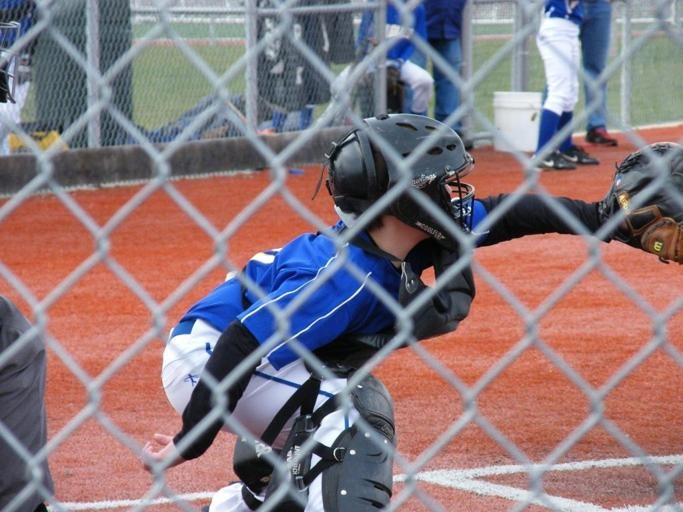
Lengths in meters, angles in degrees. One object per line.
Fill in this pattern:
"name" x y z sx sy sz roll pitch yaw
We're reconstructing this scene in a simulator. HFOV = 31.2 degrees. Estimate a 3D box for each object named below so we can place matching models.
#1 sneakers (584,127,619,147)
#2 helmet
"sneakers" 2.301 -1.045 10.841 0.127 0.119 0.312 -11 13 -40
"helmet" 0.200 -0.340 5.094 0.681 0.494 0.473 -3 30 -4
